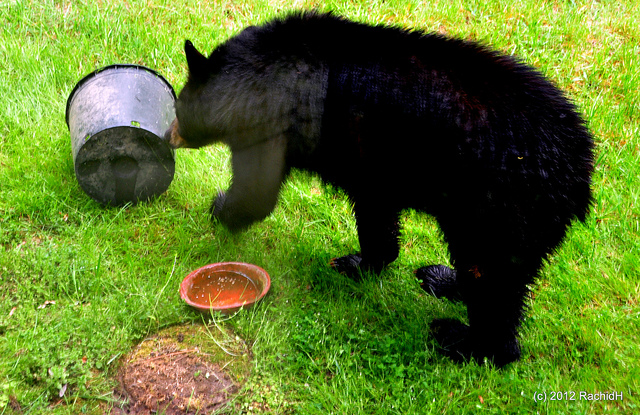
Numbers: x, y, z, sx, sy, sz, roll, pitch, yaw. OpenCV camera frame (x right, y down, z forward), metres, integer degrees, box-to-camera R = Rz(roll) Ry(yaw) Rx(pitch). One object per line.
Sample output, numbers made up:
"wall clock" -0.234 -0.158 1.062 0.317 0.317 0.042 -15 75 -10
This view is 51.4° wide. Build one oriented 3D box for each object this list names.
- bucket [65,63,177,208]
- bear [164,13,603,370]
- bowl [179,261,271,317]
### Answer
"bucket" -1.891 -0.692 6.601 1.255 1.268 0.966 -4 34 -14
"bear" 0.504 -0.001 5.816 3.649 2.230 1.307 21 34 12
"bowl" -0.821 0.711 5.842 0.739 0.177 0.742 2 29 -1
